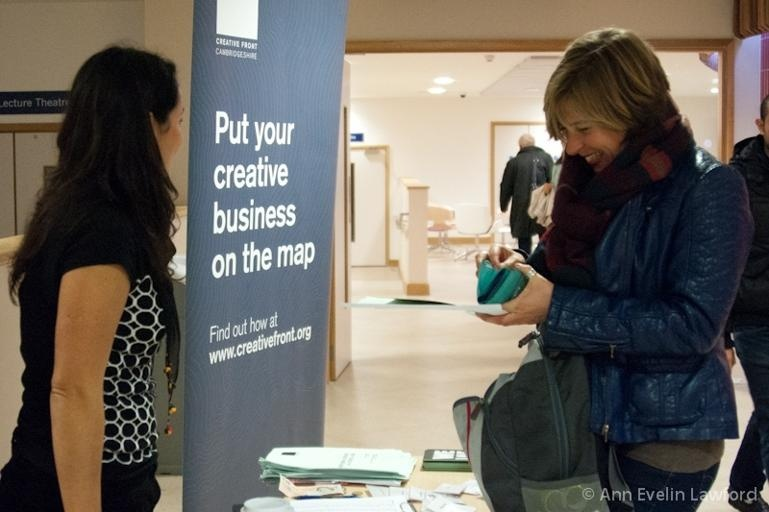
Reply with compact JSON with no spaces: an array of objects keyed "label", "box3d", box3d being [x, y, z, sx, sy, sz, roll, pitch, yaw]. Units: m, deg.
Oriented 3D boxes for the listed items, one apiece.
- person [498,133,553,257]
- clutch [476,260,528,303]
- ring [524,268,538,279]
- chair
[{"label":"person","box3d":[1.966,-0.739,8.766,0.725,1.788,0.593,-6,7,-3]},{"label":"clutch","box3d":[0.328,0.072,1.848,0.126,0.123,0.064,0,-1,43]},{"label":"ring","box3d":[0.420,0.052,1.851,0.028,0.009,0.029,0,19,0]},{"label":"chair","box3d":[1.669,-0.585,14.086,1.539,1.191,1.530,-6,12,-19]}]
